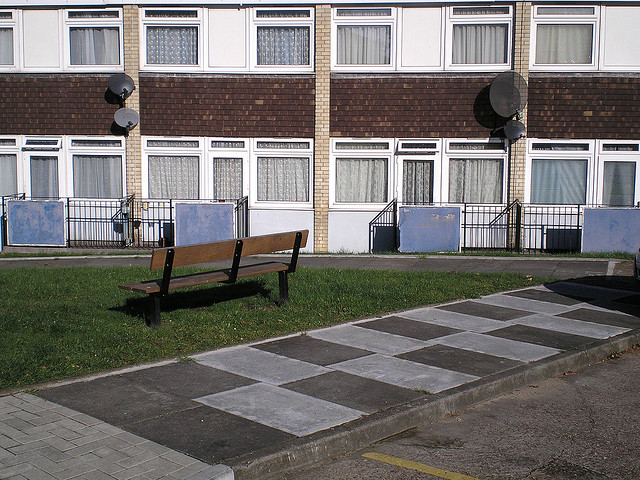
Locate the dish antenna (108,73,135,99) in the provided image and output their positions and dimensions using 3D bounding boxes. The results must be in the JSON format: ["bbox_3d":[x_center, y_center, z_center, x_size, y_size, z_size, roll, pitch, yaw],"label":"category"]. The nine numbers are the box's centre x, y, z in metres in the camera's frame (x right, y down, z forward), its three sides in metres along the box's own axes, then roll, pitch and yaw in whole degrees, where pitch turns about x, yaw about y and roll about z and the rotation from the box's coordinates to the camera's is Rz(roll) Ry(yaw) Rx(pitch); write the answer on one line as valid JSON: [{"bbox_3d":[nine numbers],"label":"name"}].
[{"bbox_3d":[-5.810,-4.563,24.094,0.733,0.717,0.292,-1,4,-15],"label":"dish antenna"}]

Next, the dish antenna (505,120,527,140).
[{"bbox_3d":[5.589,-3.183,23.619,0.566,0.554,0.294,1,4,13],"label":"dish antenna"}]
